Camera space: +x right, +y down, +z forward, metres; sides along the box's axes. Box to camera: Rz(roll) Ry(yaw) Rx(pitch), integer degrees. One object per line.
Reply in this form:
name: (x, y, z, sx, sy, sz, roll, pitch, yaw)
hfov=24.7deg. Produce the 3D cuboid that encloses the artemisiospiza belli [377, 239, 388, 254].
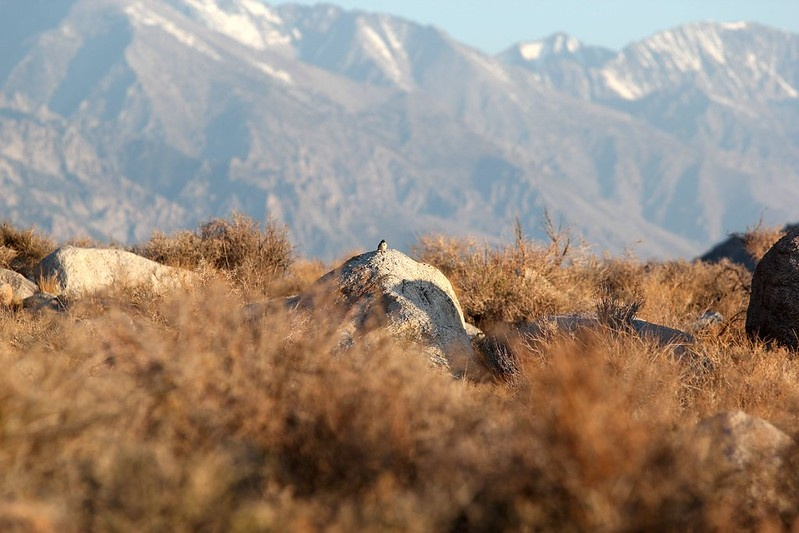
artemisiospiza belli: (-0.186, -0.177, 18.939, 0.066, 0.125, 0.126, 6, 52, -10)
